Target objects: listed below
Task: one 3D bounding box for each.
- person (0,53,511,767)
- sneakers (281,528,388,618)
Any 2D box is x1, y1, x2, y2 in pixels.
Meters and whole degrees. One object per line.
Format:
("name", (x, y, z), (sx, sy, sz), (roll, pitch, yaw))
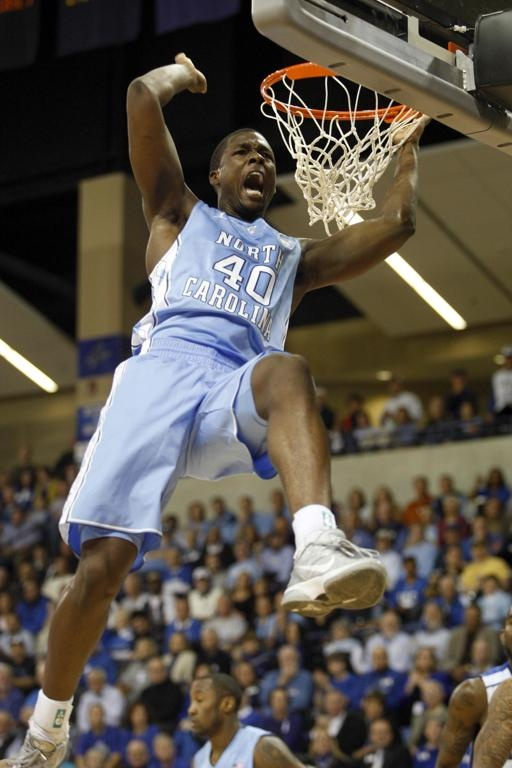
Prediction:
("person", (-0.137, -0.030, 2.568), (1.044, 1.400, 1.402), (-5, 3, 15))
("sneakers", (0.157, 0.391, 1.965), (0.126, 0.169, 0.249), (30, -43, -33))
